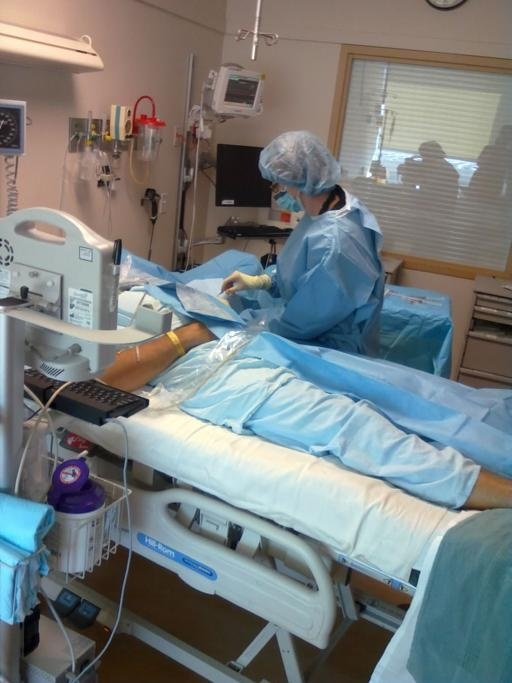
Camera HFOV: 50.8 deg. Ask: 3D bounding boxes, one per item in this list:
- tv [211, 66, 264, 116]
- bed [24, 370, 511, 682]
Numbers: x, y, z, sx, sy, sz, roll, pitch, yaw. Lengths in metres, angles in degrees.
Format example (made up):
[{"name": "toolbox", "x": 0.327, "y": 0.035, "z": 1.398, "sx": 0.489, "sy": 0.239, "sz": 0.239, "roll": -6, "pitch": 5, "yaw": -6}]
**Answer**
[{"name": "tv", "x": -0.131, "y": -1.570, "z": 3.397, "sx": 0.355, "sy": 0.311, "sz": 0.191, "roll": -14, "pitch": 37, "yaw": -40}, {"name": "bed", "x": 0.008, "y": 0.358, "z": 1.227, "sx": 0.775, "sy": 0.129, "sz": 0.394, "roll": 17, "pitch": 14, "yaw": 29}]
